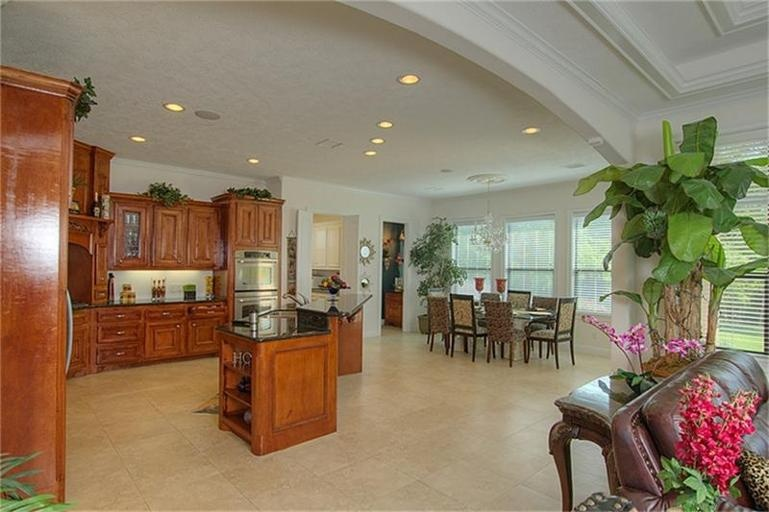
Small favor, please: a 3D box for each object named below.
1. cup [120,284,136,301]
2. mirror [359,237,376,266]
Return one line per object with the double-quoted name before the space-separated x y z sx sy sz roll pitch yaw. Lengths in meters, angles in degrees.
"cup" -3.974 0.558 7.454 0.199 0.341 0.256 -6 -6 33
"mirror" -0.372 -0.121 9.993 0.090 0.591 0.632 3 0 39
